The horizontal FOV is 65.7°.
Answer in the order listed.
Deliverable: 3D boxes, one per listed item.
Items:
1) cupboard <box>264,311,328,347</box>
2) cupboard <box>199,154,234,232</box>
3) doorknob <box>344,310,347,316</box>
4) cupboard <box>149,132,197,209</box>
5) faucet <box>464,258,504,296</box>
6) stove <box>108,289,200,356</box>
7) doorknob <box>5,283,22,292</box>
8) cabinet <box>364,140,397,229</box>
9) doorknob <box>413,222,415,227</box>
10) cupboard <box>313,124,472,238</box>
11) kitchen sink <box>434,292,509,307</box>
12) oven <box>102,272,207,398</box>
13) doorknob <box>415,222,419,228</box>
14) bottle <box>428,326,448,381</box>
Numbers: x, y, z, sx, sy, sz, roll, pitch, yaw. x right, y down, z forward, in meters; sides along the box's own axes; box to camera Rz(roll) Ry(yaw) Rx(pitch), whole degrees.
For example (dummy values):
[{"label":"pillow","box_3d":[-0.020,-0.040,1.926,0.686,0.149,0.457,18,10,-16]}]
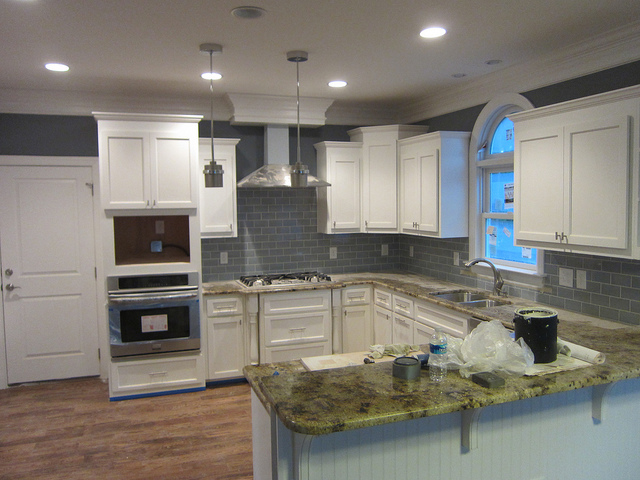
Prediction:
[{"label":"cupboard","box_3d":[-0.281,0.971,5.378,0.507,0.376,0.229,1,-6,-13]},{"label":"cupboard","box_3d":[-1.166,-0.496,5.559,0.435,0.910,0.362,-2,3,-18]},{"label":"doorknob","box_3d":[0.291,0.821,5.574,0.039,0.047,0.040,-2,5,-16]},{"label":"cupboard","box_3d":[-1.484,-0.688,5.110,0.469,0.869,0.433,-2,-8,-9]},{"label":"faucet","box_3d":[1.550,0.364,4.665,0.353,0.373,0.188,5,19,27]},{"label":"stove","box_3d":[-1.732,0.750,5.274,0.799,0.723,0.625,-1,2,-18]},{"label":"doorknob","box_3d":[-3.254,0.498,5.245,0.110,0.112,0.061,1,0,-21]},{"label":"cabinet","box_3d":[0.766,-0.638,5.823,0.389,0.952,0.415,1,3,25]},{"label":"doorknob","box_3d":[1.028,-0.171,5.433,0.052,0.053,0.053,-2,5,6]},{"label":"cupboard","box_3d":[0.874,-0.624,5.513,0.860,2.056,1.593,-1,3,-20]},{"label":"kitchen sink","box_3d":[1.471,0.587,4.779,0.640,0.100,0.308,3,9,42]},{"label":"oven","box_3d":[-1.814,1.009,5.311,1.039,1.273,0.939,-3,-11,-16]},{"label":"doorknob","box_3d":[1.052,-0.167,5.399,0.033,0.034,0.033,-2,7,-6]},{"label":"bottle","box_3d":[0.670,0.642,2.836,0.107,0.276,0.169,-1,7,13]}]
